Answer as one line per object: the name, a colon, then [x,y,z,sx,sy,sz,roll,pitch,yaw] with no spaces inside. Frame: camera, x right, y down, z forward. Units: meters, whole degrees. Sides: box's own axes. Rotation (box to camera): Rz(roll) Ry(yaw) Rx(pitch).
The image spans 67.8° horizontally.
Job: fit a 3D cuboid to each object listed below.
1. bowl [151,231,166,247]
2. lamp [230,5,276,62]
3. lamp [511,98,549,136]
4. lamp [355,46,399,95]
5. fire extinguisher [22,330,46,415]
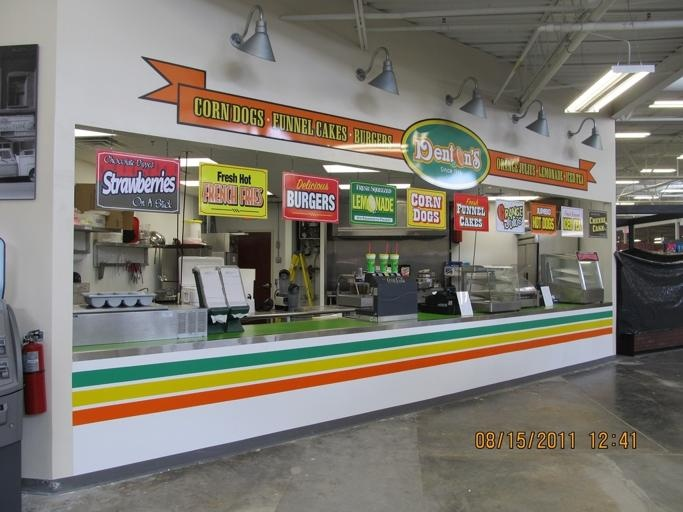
bowl: [-3.094,-0.288,8.581,0.265,0.155,0.269,5,6,-1]
lamp: [-0.909,-2.250,5.069,0.393,0.632,0.523,-2,7,-14]
lamp: [2.744,-2.062,7.474,0.468,0.606,0.842,2,7,17]
lamp: [0.404,-2.209,5.961,0.488,0.665,0.728,1,6,5]
fire extinguisher: [-2.539,0.969,4.200,0.165,0.668,0.116,-4,7,-34]
